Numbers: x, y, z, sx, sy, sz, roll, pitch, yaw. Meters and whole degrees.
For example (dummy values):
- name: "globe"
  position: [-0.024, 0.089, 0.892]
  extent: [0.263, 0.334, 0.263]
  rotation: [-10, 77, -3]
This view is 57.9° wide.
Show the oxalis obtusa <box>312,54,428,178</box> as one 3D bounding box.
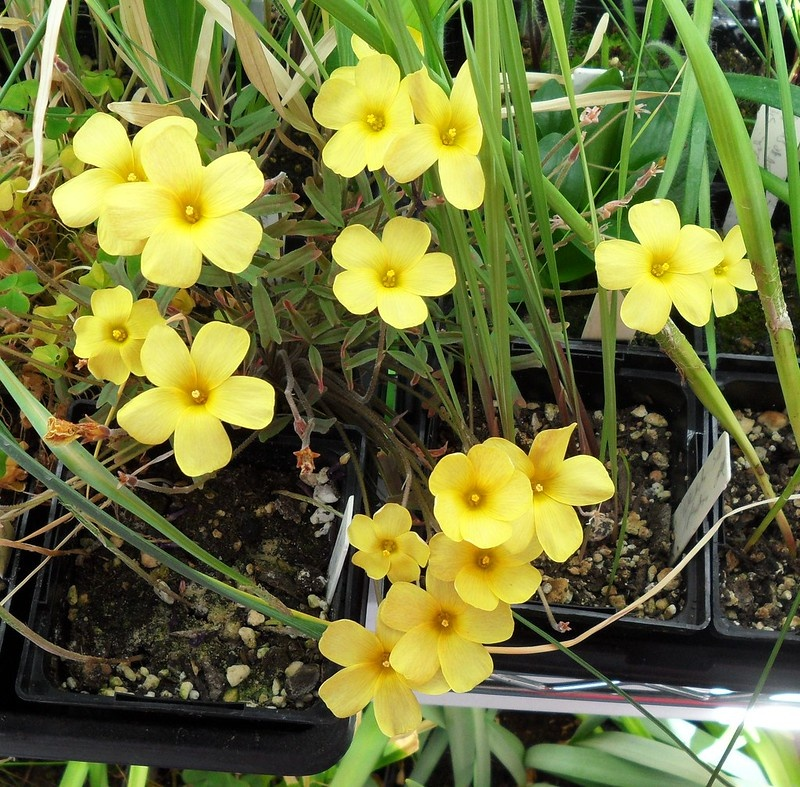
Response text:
- name: "oxalis obtusa"
  position: [-0.013, -0.172, 0.447]
  extent: [0.070, 0.063, 0.035]
  rotation: [-22, 47, -25]

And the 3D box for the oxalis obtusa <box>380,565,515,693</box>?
- name: "oxalis obtusa"
  position: [0.023, 0.145, 0.466]
  extent: [0.098, 0.022, 0.087]
  rotation: [-3, 20, -40]

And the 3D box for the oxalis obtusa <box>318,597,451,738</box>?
- name: "oxalis obtusa"
  position: [-0.005, 0.191, 0.492]
  extent: [0.101, 0.025, 0.095]
  rotation: [-3, -25, -45]

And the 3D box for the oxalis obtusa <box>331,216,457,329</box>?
- name: "oxalis obtusa"
  position: [-0.005, -0.075, 0.438]
  extent: [0.068, 0.052, 0.069]
  rotation: [-15, 32, 12]

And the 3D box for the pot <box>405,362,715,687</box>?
- name: "pot"
  position: [0.229, 0.111, 0.740]
  extent: [0.230, 0.107, 0.313]
  rotation: [5, 75, 7]

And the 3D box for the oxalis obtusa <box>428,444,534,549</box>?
- name: "oxalis obtusa"
  position: [0.049, 0.061, 0.428]
  extent: [0.065, 0.062, 0.033]
  rotation: [-13, -12, -3]

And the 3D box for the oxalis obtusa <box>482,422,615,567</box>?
- name: "oxalis obtusa"
  position: [0.094, 0.060, 0.466]
  extent: [0.084, 0.059, 0.100]
  rotation: [-19, 55, 17]

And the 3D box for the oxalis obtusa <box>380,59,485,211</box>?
- name: "oxalis obtusa"
  position: [0.022, -0.152, 0.423]
  extent: [0.056, 0.077, 0.089]
  rotation: [-15, 32, 13]

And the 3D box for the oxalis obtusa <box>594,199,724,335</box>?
- name: "oxalis obtusa"
  position: [0.172, -0.071, 0.474]
  extent: [0.050, 0.102, 0.092]
  rotation: [9, 43, 41]
